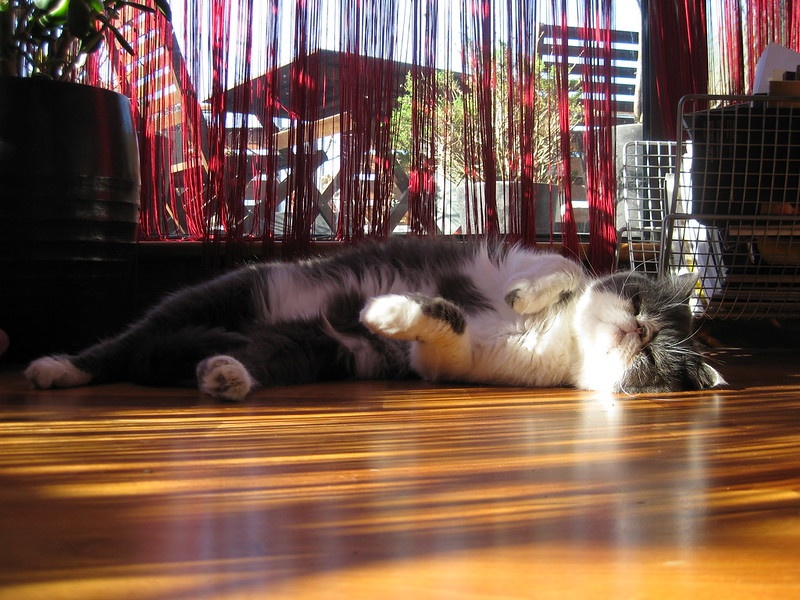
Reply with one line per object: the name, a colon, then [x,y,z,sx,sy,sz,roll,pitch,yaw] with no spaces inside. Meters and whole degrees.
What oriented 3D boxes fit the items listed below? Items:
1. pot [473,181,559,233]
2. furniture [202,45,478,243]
pot: [0.337,-0.292,2.295,0.263,0.184,0.250,0,-1,0]
furniture: [-0.165,-0.391,2.235,0.588,0.426,0.641,0,0,-1]
